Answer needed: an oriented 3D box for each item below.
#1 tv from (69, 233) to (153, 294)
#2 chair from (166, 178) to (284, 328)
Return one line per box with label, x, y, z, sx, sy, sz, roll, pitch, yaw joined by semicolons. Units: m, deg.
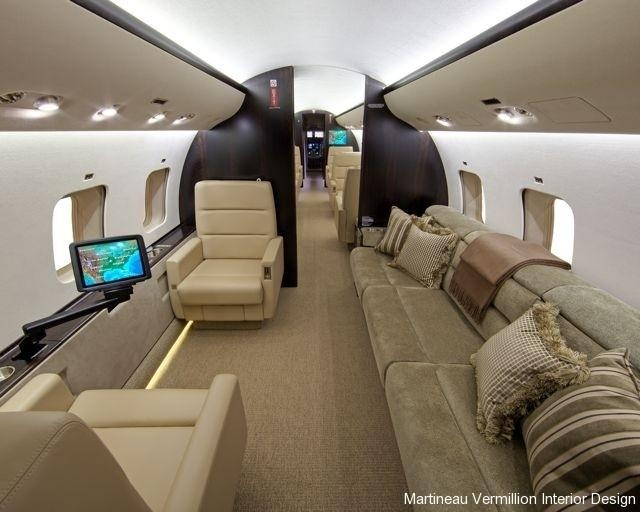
tv;-1.263;0.042;2.464;0.347;0.286;0.054;-19;4;-35
chair;-0.847;-0.024;3.865;0.904;1.242;0.900;0;17;2
